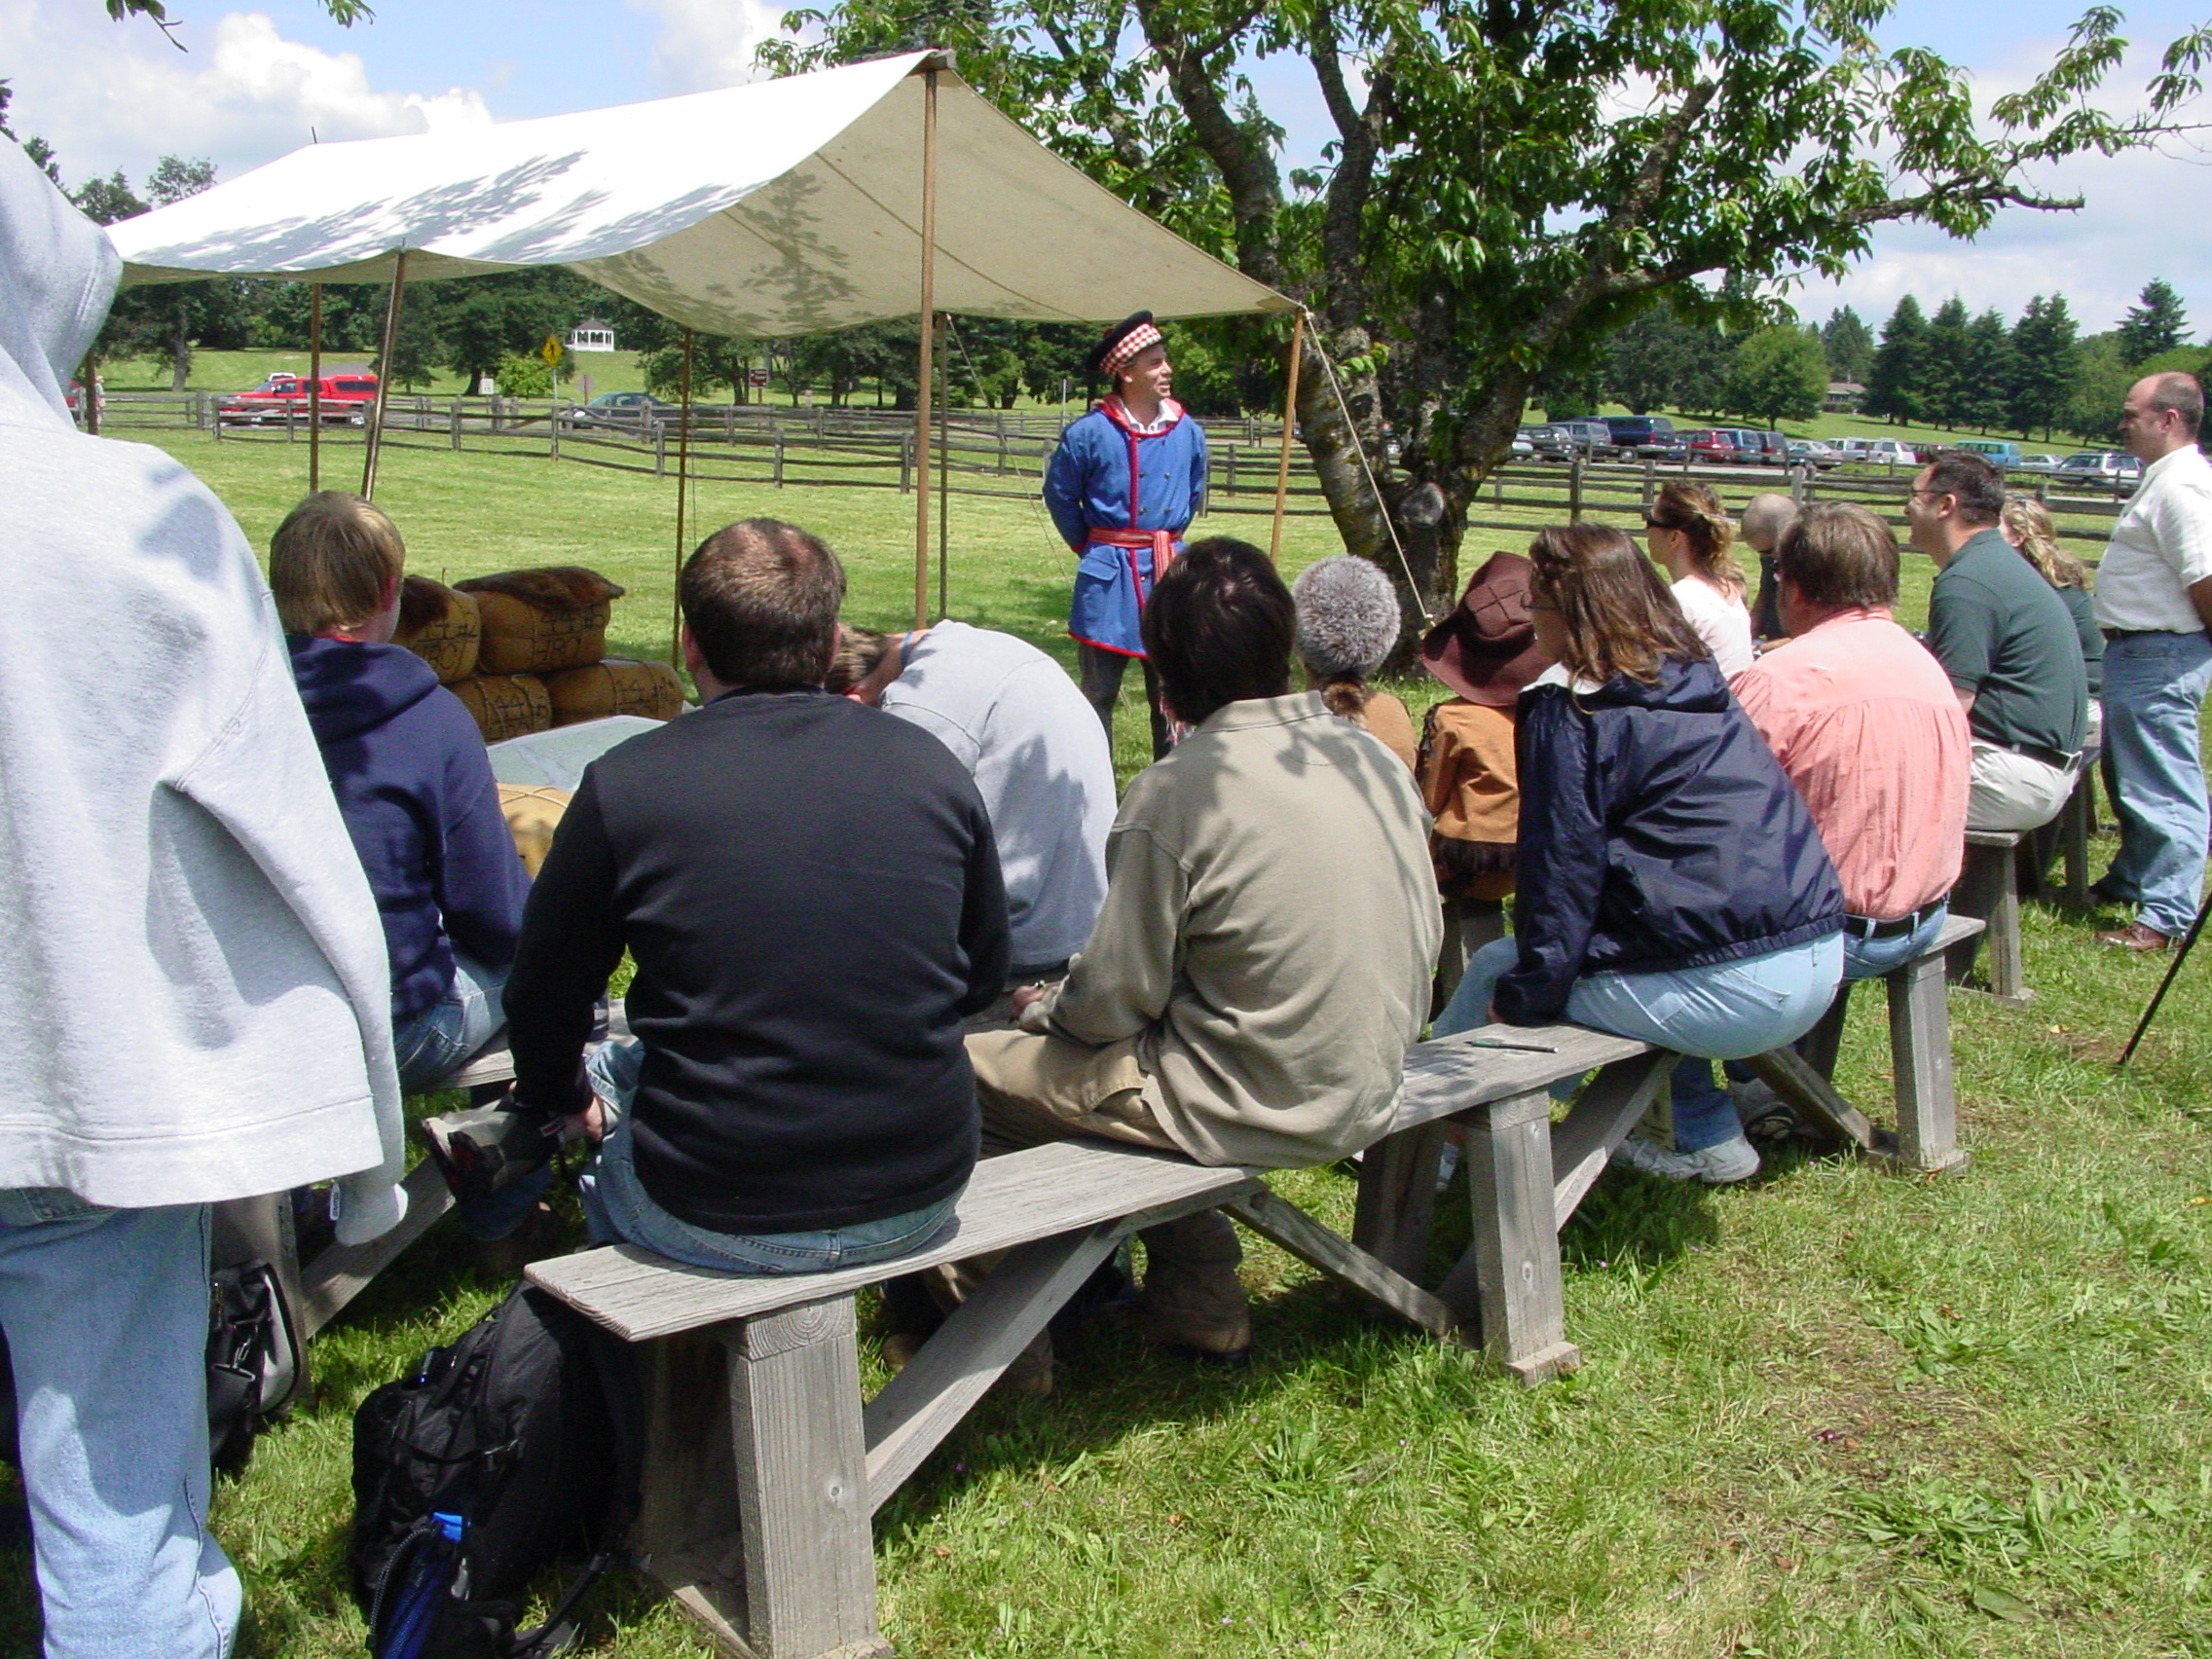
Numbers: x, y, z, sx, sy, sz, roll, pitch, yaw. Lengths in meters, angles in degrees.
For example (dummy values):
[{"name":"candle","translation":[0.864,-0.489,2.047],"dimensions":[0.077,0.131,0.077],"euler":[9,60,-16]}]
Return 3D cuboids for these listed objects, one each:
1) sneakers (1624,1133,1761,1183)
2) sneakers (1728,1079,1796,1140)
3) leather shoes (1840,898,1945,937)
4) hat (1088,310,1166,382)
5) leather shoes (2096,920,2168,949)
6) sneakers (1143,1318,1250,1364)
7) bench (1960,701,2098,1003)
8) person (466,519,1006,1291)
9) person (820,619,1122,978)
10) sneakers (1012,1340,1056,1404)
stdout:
[{"name":"sneakers","translation":[1.603,0.876,5.122],"dimensions":[0.372,0.195,0.147],"euler":[4,-4,7]},{"name":"sneakers","translation":[1.923,0.823,5.394],"dimensions":[0.181,0.145,0.151],"euler":[1,5,39]},{"name":"leather shoes","translation":[2.136,0.253,4.964],"dimensions":[0.162,0.054,0.161],"euler":[-3,4,-23]},{"name":"hat","translation":[0.073,-2.164,8.224],"dimensions":[0.294,0.126,0.265],"euler":[-24,1,12]},{"name":"leather shoes","translation":[4.158,0.433,7.467],"dimensions":[0.226,0.109,0.100],"euler":[7,9,40]},{"name":"sneakers","translation":[0.219,1.206,4.317],"dimensions":[0.139,0.057,0.109],"euler":[2,-2,-21]},{"name":"bench","translation":[3.391,0.035,7.119],"dimensions":[0.667,0.681,1.321],"euler":[1,9,21]},{"name":"person","translation":[-0.566,0.076,3.864],"dimensions":[1.107,1.618,1.185],"euler":[-3,6,-25]},{"name":"person","translation":[-0.433,-0.205,4.534],"dimensions":[0.585,0.871,0.833],"euler":[-6,32,-35]},{"name":"sneakers","translation":[-0.167,1.221,4.163],"dimensions":[0.114,0.128,0.093],"euler":[9,-5,-13]}]
